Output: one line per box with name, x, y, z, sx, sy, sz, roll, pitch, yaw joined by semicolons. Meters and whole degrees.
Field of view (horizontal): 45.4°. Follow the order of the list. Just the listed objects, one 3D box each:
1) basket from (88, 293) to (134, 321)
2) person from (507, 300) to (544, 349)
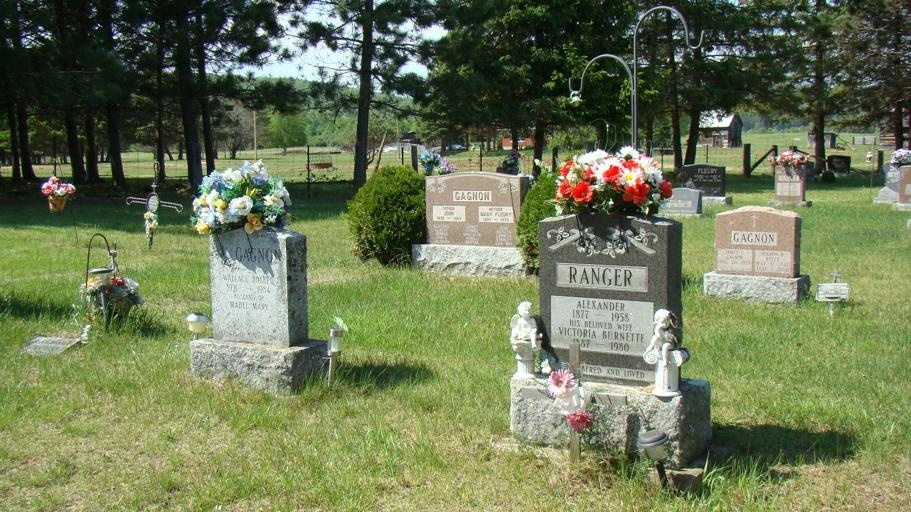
basket;-10.876;1.616;34.492;0.902;0.373;1.059;3;6;9
person;2.082;2.043;31.498;0.900;1.397;0.329;0;10;4
